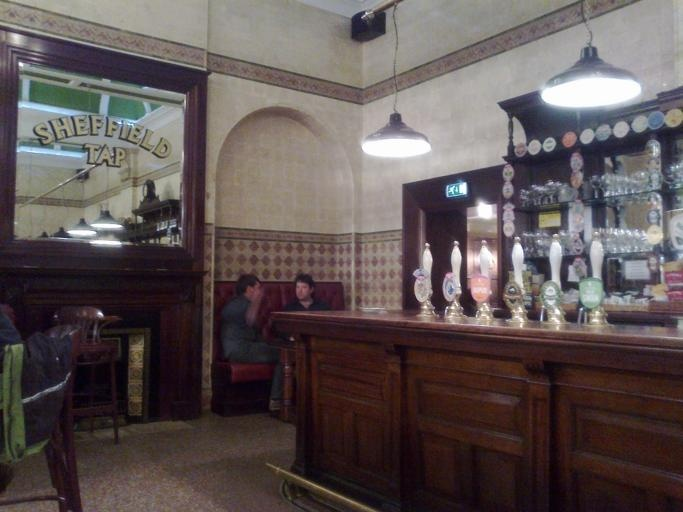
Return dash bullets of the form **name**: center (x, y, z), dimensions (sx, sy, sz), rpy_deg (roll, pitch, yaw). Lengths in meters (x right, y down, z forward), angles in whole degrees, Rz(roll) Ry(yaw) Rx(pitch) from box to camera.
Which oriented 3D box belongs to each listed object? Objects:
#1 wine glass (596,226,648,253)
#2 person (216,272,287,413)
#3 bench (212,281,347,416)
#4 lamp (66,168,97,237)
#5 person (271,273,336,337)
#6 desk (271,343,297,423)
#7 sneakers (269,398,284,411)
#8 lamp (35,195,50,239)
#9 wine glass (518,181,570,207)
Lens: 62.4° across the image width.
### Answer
- **wine glass**: center (2.681, -0.131, 5.339), dimensions (0.424, 0.250, 0.167), rpy_deg (1, 1, 23)
- **person**: center (-1.066, 1.040, 6.761), dimensions (0.859, 1.587, 0.568), rpy_deg (0, 1, 8)
- **bench**: center (-0.741, 1.012, 5.880), dimensions (1.326, 1.207, 0.617), rpy_deg (4, -10, -27)
- **lamp**: center (-2.836, -0.595, 6.159), dimensions (0.269, 0.785, 0.113), rpy_deg (0, 1, -23)
- **person**: center (-0.426, 0.593, 6.759), dimensions (0.720, 0.709, 0.432), rpy_deg (-5, -19, -11)
- **desk**: center (-0.618, 1.428, 6.272), dimensions (0.198, 0.856, 0.495), rpy_deg (0, 1, -5)
- **sneakers**: center (-0.748, 1.706, 6.472), dimensions (0.125, 0.114, 0.176), rpy_deg (-1, -11, 4)
- **lamp**: center (-3.152, -0.405, 5.954), dimensions (0.100, 0.445, 0.073), rpy_deg (0, 1, -29)
- **wine glass**: center (2.137, -0.623, 5.853), dimensions (0.348, 0.137, 0.289), rpy_deg (-1, 0, 29)
